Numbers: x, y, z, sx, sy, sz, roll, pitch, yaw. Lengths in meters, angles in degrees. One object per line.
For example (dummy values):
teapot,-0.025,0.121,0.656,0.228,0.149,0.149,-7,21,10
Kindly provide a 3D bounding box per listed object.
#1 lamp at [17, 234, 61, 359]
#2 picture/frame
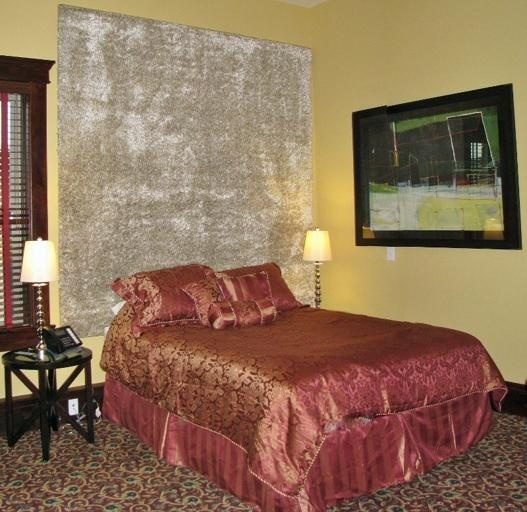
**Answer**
lamp,-1.548,0.273,3.179,0.216,0.790,0.526,-1,-1,-28
picture/frame,1.520,-0.779,3.928,0.074,1.346,1.567,-2,0,-40
